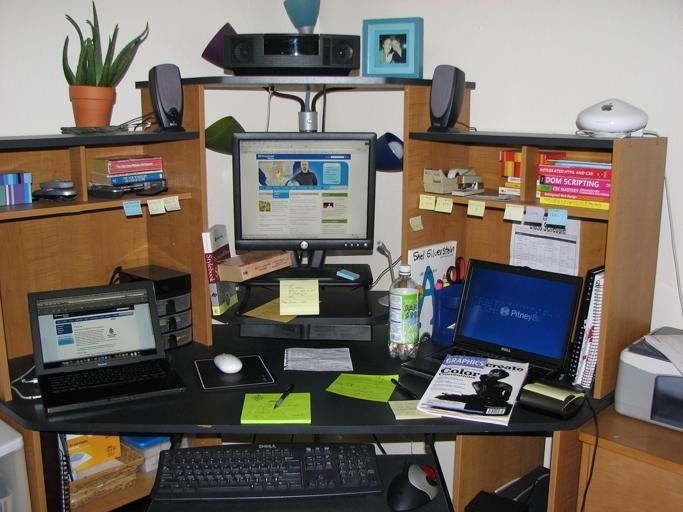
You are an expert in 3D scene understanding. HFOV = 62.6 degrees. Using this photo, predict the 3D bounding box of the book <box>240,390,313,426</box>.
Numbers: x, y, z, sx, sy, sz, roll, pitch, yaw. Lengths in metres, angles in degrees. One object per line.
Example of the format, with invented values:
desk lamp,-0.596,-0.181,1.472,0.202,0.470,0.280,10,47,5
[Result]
book,-0.205,0.444,1.776,0.309,0.048,0.267,-1,9,-4

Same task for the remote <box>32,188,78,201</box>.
remote,-0.963,-0.203,1.887,0.116,0.034,0.054,0,5,4

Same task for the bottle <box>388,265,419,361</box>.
bottle,0.219,0.210,2.055,0.096,0.326,0.124,-1,7,-15

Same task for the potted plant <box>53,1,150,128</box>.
potted plant,-0.950,-0.749,2.179,0.309,0.498,0.479,-3,13,-5

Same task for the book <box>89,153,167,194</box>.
book,-0.785,-0.321,2.070,0.280,0.145,0.199,-11,18,-40

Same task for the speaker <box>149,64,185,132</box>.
speaker,-0.641,-0.579,2.063,0.118,0.239,0.074,-6,14,-17

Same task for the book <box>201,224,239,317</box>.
book,-0.477,0.053,2.170,0.102,0.317,0.121,0,16,-27

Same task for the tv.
tv,-0.131,-0.235,2.171,0.557,0.576,0.115,1,14,-6

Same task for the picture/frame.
picture/frame,0.215,-0.864,2.334,0.348,0.298,0.061,6,13,31

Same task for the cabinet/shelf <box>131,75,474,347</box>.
cabinet/shelf,-0.162,-0.159,2.191,1.149,0.989,0.364,-2,10,-5

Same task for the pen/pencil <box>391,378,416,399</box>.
pen/pencil,0.201,0.438,1.835,0.024,0.021,0.173,27,4,-26

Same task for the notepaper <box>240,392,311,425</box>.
notepaper,-0.203,0.474,1.743,0.212,0.028,0.169,-2,13,-3

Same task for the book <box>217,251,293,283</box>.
book,-0.355,0.030,2.181,0.135,0.044,0.197,11,22,42

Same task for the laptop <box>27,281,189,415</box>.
laptop,-0.814,0.278,1.944,0.538,0.396,0.398,-9,16,-38

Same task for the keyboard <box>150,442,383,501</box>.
keyboard,-0.226,0.645,1.691,0.679,0.077,0.173,-2,13,0

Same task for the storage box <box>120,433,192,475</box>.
storage box,-0.709,0.717,2.127,0.193,0.122,0.274,6,0,-36

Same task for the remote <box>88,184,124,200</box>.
remote,-0.853,-0.225,2.003,0.151,0.045,0.084,1,13,13

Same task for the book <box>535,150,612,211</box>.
book,0.750,-0.229,1.814,0.048,0.143,0.230,-14,18,-42

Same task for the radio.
radio,-0.182,-0.746,2.075,0.483,0.150,0.174,-2,22,-7

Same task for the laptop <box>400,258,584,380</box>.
laptop,0.549,0.185,1.875,0.608,0.389,0.300,10,14,35

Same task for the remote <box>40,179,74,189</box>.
remote,-0.979,-0.240,1.930,0.071,0.020,0.050,-1,6,5

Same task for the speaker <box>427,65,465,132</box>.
speaker,0.389,-0.597,2.134,0.122,0.244,0.160,4,14,23
